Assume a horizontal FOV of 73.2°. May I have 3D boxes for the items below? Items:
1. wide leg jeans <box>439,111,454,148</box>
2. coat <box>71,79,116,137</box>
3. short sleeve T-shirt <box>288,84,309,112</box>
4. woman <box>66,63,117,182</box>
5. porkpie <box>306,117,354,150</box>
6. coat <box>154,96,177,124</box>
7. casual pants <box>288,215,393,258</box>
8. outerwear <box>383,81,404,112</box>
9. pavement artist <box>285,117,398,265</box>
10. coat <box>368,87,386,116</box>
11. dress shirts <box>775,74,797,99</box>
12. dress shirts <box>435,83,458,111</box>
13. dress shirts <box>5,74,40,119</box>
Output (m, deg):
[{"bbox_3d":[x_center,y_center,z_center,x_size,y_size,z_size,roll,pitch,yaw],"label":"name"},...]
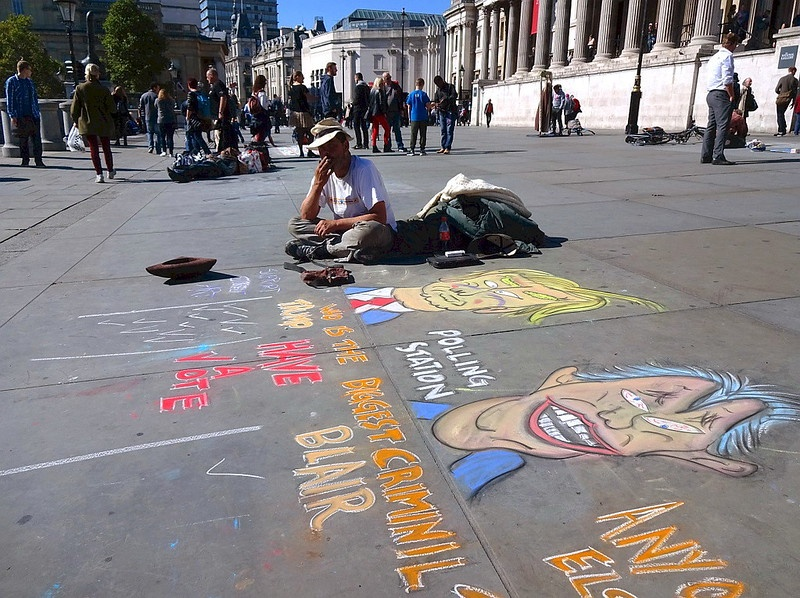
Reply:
[{"bbox_3d":[1.271,-4.574,14.590,0.292,1.016,0.609,-17,24,-34],"label":"wide leg jeans"},{"bbox_3d":[-5.745,-3.589,10.041,0.733,1.038,0.494,-10,21,-22],"label":"coat"},{"bbox_3d":[-2.567,-5.122,13.530,0.471,0.656,0.834,-5,17,-8],"label":"short sleeve T-shirt"},{"bbox_3d":[-5.774,-3.428,10.305,0.990,1.967,0.663,11,22,0],"label":"woman"},{"bbox_3d":[-0.607,-1.430,4.585,0.332,0.255,0.415,-3,16,-4],"label":"porkpie"},{"bbox_3d":[-6.649,-5.389,15.197,0.477,0.701,0.815,-9,18,-20],"label":"coat"},{"bbox_3d":[-0.538,-0.527,4.756,0.534,0.172,0.567,-12,13,-43],"label":"casual pants"},{"bbox_3d":[-0.193,-5.453,14.373,0.319,0.776,0.452,5,20,18],"label":"outerwear"},{"bbox_3d":[-0.551,-0.968,4.774,1.003,1.240,0.628,-1,20,4],"label":"pavement artist"},{"bbox_3d":[-0.619,-5.251,14.207,0.503,0.652,0.395,0,19,5],"label":"coat"},{"bbox_3d":[11.658,-6.467,16.214,0.556,0.716,0.403,9,22,29],"label":"dress shirts"},{"bbox_3d":[1.232,-5.516,14.518,0.525,0.835,0.928,-1,17,3],"label":"dress shirts"},{"bbox_3d":[-8.682,-4.666,12.276,0.578,0.992,0.648,-7,19,-12],"label":"dress shirts"}]
